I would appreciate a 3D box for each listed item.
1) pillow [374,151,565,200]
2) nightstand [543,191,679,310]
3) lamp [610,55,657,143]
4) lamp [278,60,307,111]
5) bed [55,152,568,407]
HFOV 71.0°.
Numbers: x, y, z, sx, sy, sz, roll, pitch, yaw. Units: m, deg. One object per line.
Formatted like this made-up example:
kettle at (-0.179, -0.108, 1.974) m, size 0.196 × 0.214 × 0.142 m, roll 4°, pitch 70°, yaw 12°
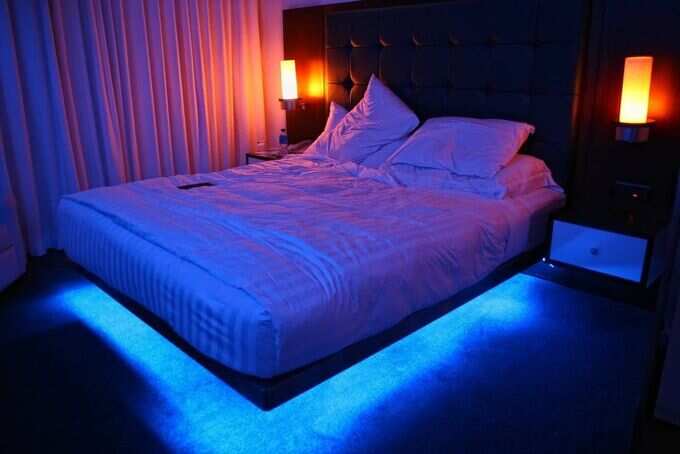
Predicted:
pillow at (1.232, -0.492, 4.005) m, size 0.689 × 0.241 × 0.877 m, roll -15°, pitch 27°, yaw -25°
nightstand at (1.918, 0.179, 3.516) m, size 0.905 × 0.681 × 0.766 m, roll -19°, pitch 24°, yaw -37°
lamp at (2.112, -0.882, 3.354) m, size 0.287 × 0.587 × 0.188 m, roll -4°, pitch 21°, yaw -12°
lamp at (-0.520, -1.541, 5.207) m, size 0.266 × 0.529 × 0.383 m, roll 7°, pitch 21°, yaw 15°
bed at (-0.784, 0.267, 2.970) m, size 1.850 × 0.405 × 1.807 m, roll -19°, pitch 28°, yaw -36°
